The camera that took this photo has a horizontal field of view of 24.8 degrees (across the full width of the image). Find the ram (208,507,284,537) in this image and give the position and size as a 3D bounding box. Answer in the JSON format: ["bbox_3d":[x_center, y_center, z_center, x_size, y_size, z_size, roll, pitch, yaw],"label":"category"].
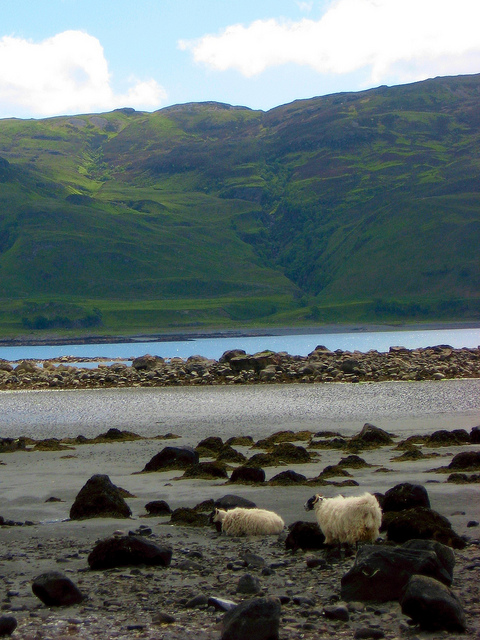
[{"bbox_3d":[0.135,2.942,15.747,0.989,0.346,0.382,0,4,0],"label":"ram"}]

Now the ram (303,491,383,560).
[{"bbox_3d":[1.378,2.718,14.463,0.639,0.864,0.940,-2,4,-21],"label":"ram"}]
